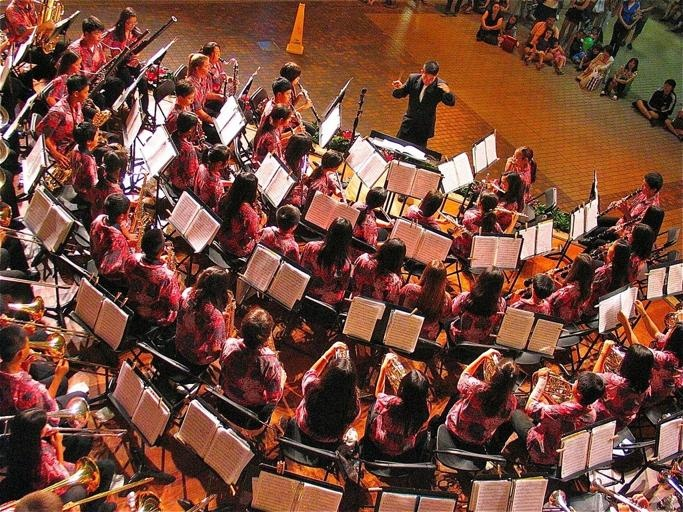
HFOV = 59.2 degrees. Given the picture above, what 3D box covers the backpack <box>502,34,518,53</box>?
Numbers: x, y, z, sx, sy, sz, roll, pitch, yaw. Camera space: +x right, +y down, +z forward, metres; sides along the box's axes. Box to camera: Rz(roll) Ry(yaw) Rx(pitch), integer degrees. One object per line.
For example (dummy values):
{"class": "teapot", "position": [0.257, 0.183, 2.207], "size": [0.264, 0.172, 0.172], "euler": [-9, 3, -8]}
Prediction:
{"class": "backpack", "position": [5.342, -6.826, 19.131], "size": [0.443, 0.607, 0.201], "euler": [26, 49, 16]}
